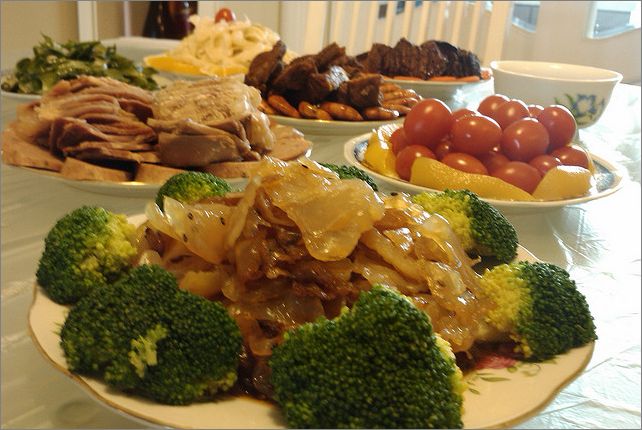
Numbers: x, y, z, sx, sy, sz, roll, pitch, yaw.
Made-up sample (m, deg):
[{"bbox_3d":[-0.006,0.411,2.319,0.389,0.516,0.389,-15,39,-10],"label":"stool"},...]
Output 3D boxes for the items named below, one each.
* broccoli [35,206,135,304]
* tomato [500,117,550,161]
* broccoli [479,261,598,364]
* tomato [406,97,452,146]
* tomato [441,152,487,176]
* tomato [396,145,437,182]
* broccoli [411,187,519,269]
[{"bbox_3d":[-0.521,0.101,1.181,0.174,0.116,0.226,1,28,7],"label":"broccoli"},{"bbox_3d":[0.708,-0.255,1.767,0.168,0.170,0.172,0,2,16],"label":"tomato"},{"bbox_3d":[0.470,0.200,1.093,0.184,0.064,0.197,-17,53,-7],"label":"broccoli"},{"bbox_3d":[0.376,-0.334,1.795,0.151,0.193,0.150,-13,25,-19],"label":"tomato"},{"bbox_3d":[0.462,-0.168,1.646,0.122,0.071,0.073,17,38,-6],"label":"tomato"},{"bbox_3d":[0.300,-0.181,1.672,0.115,0.117,0.137,8,66,-2],"label":"tomato"},{"bbox_3d":[0.389,0.037,1.351,0.227,0.097,0.183,35,4,42],"label":"broccoli"}]
